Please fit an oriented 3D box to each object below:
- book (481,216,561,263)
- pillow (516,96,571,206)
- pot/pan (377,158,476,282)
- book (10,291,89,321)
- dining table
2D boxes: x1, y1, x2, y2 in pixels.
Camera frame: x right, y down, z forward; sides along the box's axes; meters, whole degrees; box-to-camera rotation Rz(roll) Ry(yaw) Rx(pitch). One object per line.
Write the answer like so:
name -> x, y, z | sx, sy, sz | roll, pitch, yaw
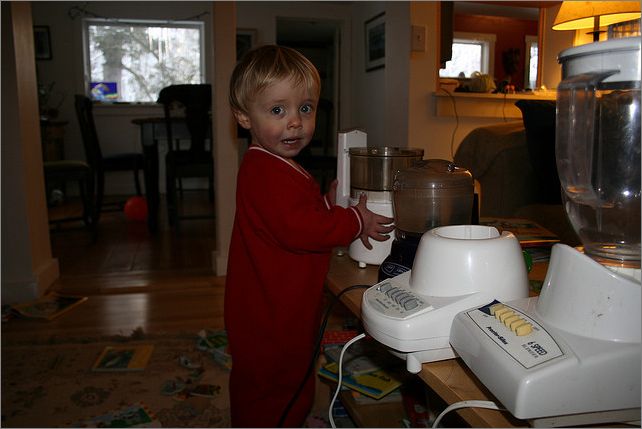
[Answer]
book -> 0.620, 0.064, 1.455 | 0.182, 0.042, 0.180 | -3, 17, -22
pillow -> 0.959, -0.270, 2.120 | 0.133, 0.434, 0.437 | -12, 10, 8
pot/pan -> 0.288, 0.027, 1.247 | 0.296, 0.319, 0.202 | -4, 5, -27
book -> -1.375, 0.458, 2.421 | 0.293, 0.027, 0.271 | 3, 14, 10
dining table -> -1.250, -0.382, 4.375 | 0.891, 0.963, 0.937 | 2, 10, 0
